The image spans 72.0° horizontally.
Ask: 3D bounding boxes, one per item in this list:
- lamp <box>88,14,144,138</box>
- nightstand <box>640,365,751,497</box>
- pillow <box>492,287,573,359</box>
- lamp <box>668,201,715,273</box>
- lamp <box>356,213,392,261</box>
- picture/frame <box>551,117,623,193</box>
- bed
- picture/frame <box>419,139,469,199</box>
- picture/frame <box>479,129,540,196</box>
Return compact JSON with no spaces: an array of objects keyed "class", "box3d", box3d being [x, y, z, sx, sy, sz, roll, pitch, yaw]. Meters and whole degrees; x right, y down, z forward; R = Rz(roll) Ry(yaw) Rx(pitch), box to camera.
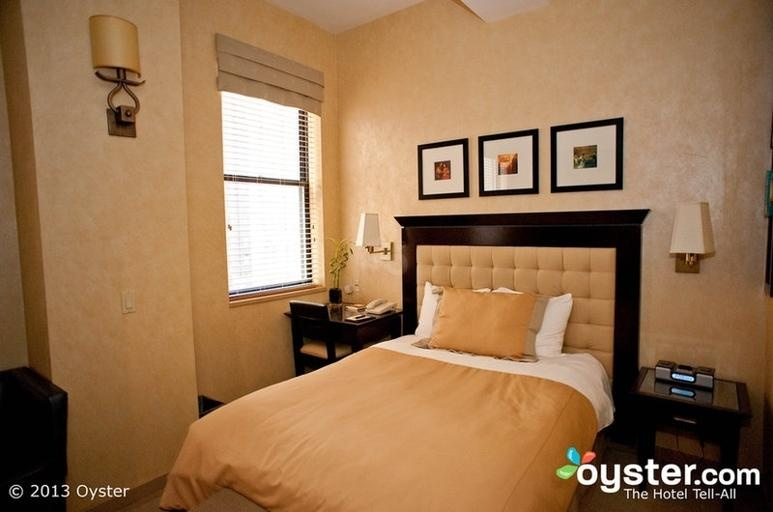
[{"class":"lamp","box3d":[-1.859,-1.237,3.684,0.340,0.795,0.157,-2,5,-26]},{"class":"nightstand","box3d":[2.101,1.336,3.747,0.649,0.653,0.528,8,-3,34]},{"class":"pillow","box3d":[1.250,0.533,4.122,0.432,0.450,0.133,6,-15,14]},{"class":"lamp","box3d":[2.172,-0.127,3.782,0.287,0.510,0.284,2,5,31]},{"class":"lamp","box3d":[-0.096,-0.163,4.961,0.217,0.442,0.340,1,1,18]},{"class":"picture/frame","box3d":[1.582,-0.796,4.141,0.586,0.616,0.042,1,2,28]},{"class":"bed","box3d":[0.301,0.616,3.640,2.283,1.899,2.679,2,4,35]},{"class":"picture/frame","box3d":[0.528,-0.783,4.717,0.528,0.555,0.036,2,3,34]},{"class":"picture/frame","box3d":[1.042,-0.791,4.424,0.556,0.609,0.039,2,4,32]}]
